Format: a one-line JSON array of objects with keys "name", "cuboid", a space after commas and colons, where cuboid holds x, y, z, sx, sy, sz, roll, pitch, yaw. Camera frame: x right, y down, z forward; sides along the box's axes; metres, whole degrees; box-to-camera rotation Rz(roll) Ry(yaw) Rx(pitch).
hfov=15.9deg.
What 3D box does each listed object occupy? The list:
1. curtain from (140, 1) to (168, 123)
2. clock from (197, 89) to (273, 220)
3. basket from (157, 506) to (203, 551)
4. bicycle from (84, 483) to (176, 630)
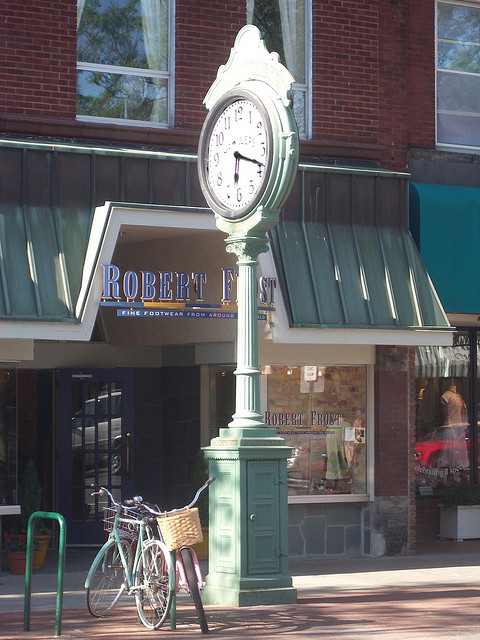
[{"name": "curtain", "cuboid": [-0.963, -2.958, 19.845, 0.299, 1.373, 0.097, -2, -2, -3]}, {"name": "clock", "cuboid": [-0.050, -1.576, 16.632, 0.150, 1.240, 1.078, 0, -3, -35]}, {"name": "basket", "cuboid": [-0.522, 1.836, 15.352, 0.369, 0.388, 0.310, 4, -2, -31]}, {"name": "bicycle", "cuboid": [-0.959, 2.156, 15.596, 0.741, 1.329, 0.793, 0, -2, 8]}]
